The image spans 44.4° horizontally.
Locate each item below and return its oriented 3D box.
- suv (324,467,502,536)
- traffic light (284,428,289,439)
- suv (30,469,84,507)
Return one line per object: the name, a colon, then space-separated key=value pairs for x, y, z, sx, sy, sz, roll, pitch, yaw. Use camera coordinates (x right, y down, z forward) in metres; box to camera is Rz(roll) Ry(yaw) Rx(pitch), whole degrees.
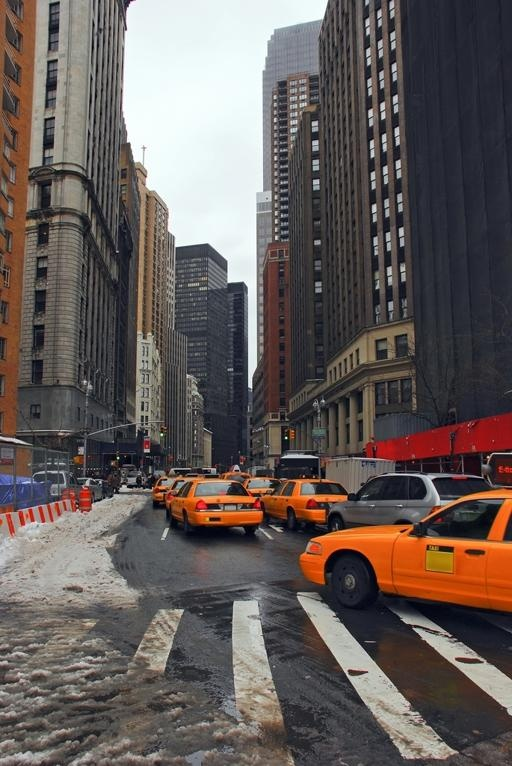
suv: x=2.616 y=2.086 z=11.285 sx=1.135 sy=1.414 sz=2.710 roll=6 pitch=-10 yaw=-30
traffic light: x=2.607 y=4.341 z=53.482 sx=0.443 sy=1.289 sz=0.560 roll=1 pitch=-2 yaw=0
suv: x=-7.708 y=4.076 z=23.845 sx=1.115 sy=1.636 sz=2.678 roll=0 pitch=-2 yaw=2
